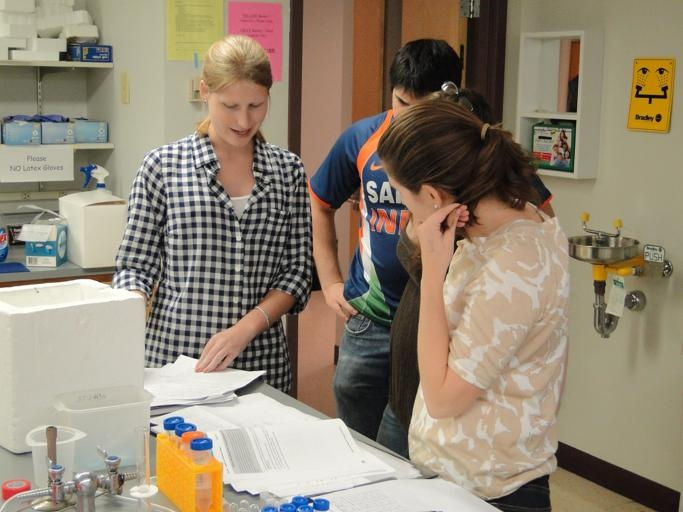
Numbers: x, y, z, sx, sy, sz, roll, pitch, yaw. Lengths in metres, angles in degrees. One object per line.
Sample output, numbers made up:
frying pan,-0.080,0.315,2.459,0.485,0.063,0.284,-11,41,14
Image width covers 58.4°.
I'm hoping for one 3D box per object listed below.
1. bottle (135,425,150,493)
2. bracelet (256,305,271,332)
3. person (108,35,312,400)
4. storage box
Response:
bottle,-0.424,0.423,1.308,0.024,0.162,0.175,-2,7,-17
bracelet,-0.255,0.198,1.984,0.049,0.065,0.040,0,7,2
person,-0.398,-0.106,1.994,0.667,1.188,0.376,-3,7,-21
storage box,-1.376,-0.263,3.439,0.336,0.589,0.636,-3,13,-29
